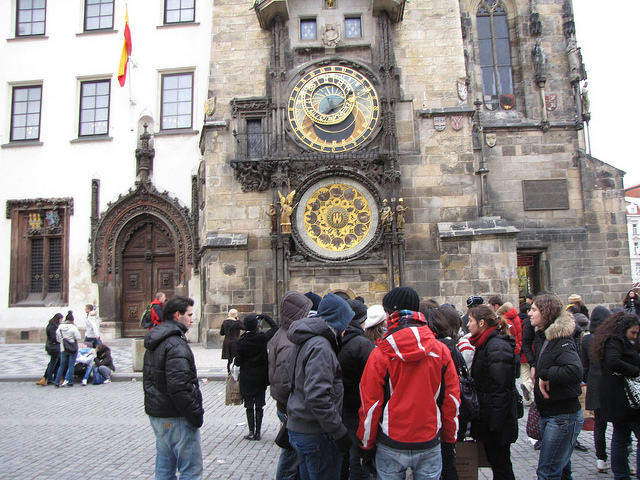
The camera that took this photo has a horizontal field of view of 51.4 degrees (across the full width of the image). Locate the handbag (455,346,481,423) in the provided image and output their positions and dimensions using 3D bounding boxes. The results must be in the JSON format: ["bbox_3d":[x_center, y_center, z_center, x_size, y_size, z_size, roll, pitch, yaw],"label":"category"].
[{"bbox_3d":[2.395,2.378,10.926,0.316,1.259,0.298,-4,-6,8],"label":"handbag"}]

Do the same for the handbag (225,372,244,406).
[{"bbox_3d":[-1.734,3.042,13.530,0.399,0.638,0.206,-4,-6,9],"label":"handbag"}]

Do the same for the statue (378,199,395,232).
[{"bbox_3d":[2.093,-0.735,20.771,0.452,0.981,0.357,-1,-6,-21],"label":"statue"}]

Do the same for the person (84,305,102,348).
[{"bbox_3d":[-6.378,2.422,18.674,0.370,1.169,1.296,-1,-6,-19],"label":"person"}]

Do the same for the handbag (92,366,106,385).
[{"bbox_3d":[-5.886,3.642,17.753,0.421,0.428,0.202,-9,-23,-26],"label":"handbag"}]

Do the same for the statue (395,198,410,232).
[{"bbox_3d":[2.533,-0.779,20.822,0.375,1.069,0.895,-4,-6,7],"label":"statue"}]

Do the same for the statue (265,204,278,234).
[{"bbox_3d":[-1.537,-0.659,21.139,0.209,0.986,0.543,0,-6,-25],"label":"statue"}]

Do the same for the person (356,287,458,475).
[{"bbox_3d":[1.346,2.183,10.348,1.532,2.867,0.490,-4,-6,8],"label":"person"}]

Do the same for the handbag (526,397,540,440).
[{"bbox_3d":[3.739,3.187,11.729,0.212,0.761,0.424,-5,-6,14],"label":"handbag"}]

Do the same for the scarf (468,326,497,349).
[{"bbox_3d":[2.775,1.693,11.432,0.465,0.361,0.144,-6,-7,29],"label":"scarf"}]

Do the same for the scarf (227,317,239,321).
[{"bbox_3d":[-2.264,2.063,17.246,0.216,0.089,0.301,-1,-6,-14],"label":"scarf"}]

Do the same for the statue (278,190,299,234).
[{"bbox_3d":[-1.033,-0.902,20.805,0.512,1.418,0.451,-3,-6,-4],"label":"statue"}]

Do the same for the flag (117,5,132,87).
[{"bbox_3d":[-7.469,-7.565,25.407,0.564,3.365,0.782,-1,-6,-16],"label":"flag"}]

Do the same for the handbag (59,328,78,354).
[{"bbox_3d":[-6.620,2.675,17.527,0.431,0.693,0.165,0,-7,-27],"label":"handbag"}]

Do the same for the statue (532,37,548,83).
[{"bbox_3d":[7.839,-6.486,23.975,0.398,1.143,0.303,-2,15,27],"label":"statue"}]

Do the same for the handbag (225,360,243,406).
[{"bbox_3d":[-1.763,2.944,13.555,0.304,0.923,0.402,-1,-6,-22],"label":"handbag"}]
